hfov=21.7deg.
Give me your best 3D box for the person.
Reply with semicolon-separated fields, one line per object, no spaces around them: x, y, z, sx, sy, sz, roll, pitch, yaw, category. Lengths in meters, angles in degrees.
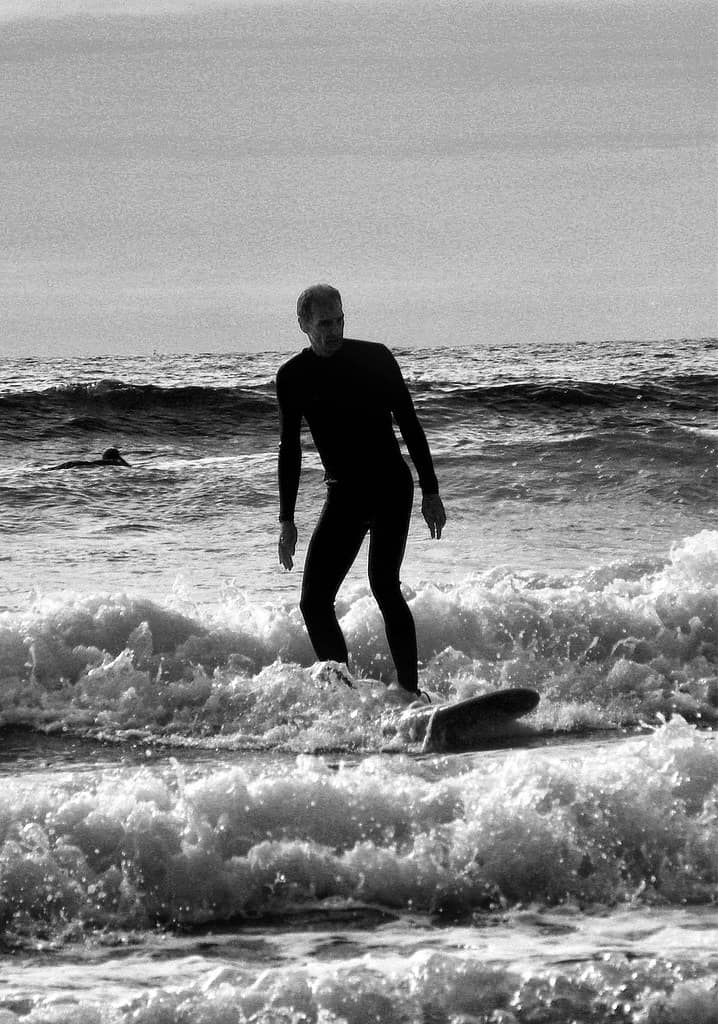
-0.009;-0.023;7.138;0.578;1.722;0.480;-5;-27;-3;person
